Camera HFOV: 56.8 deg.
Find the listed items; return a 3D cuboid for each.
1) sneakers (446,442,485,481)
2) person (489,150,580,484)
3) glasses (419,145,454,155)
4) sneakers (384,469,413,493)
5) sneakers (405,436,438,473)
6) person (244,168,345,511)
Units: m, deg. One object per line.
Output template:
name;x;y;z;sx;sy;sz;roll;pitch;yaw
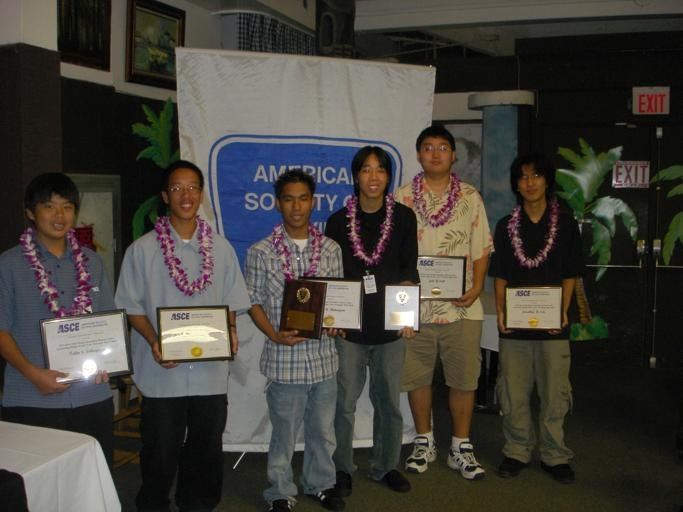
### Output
sneakers;0.857;1.415;4.391;0.130;0.236;0.351;0;-3;-32
person;1.372;0.406;4.458;0.621;2.237;0.645;2;10;14
glasses;0.632;-0.732;4.250;0.196;0.049;0.048;0;10;3
sneakers;0.386;1.498;4.215;0.092;0.076;0.191;-1;-9;-25
sneakers;0.565;1.395;4.444;0.127;0.171;0.352;-2;-11;18
person;-0.279;0.543;3.895;0.609;2.137;0.406;-1;9;-5
